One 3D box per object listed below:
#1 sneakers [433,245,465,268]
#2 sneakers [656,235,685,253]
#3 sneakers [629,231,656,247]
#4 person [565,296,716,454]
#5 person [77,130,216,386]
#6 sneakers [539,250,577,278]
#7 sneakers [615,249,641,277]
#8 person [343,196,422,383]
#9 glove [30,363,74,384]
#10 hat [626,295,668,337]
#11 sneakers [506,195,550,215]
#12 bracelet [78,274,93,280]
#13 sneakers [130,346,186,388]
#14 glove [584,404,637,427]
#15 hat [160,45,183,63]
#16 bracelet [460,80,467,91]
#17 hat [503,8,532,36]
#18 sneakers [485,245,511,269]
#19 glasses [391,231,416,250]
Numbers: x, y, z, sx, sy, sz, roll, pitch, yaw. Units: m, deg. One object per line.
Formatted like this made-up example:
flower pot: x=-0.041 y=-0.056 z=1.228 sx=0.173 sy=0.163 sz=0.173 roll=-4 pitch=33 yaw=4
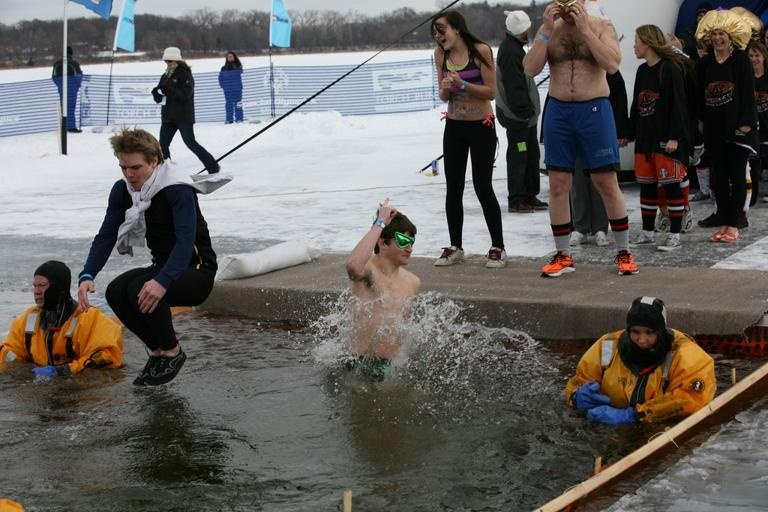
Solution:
sneakers: x=0.698 y=0.014 z=8.763 sx=0.143 sy=0.142 sz=0.396 roll=3 pitch=4 yaw=44
sneakers: x=3.055 y=-0.129 z=9.005 sx=0.138 sy=0.137 sz=0.379 roll=0 pitch=0 yaw=43
sneakers: x=2.834 y=-0.185 z=9.325 sx=0.324 sy=0.122 sz=0.138 roll=0 pitch=7 yaw=3
person: x=1.885 y=0.782 z=6.270 sx=1.145 sy=0.807 sz=0.992 roll=-1 pitch=9 yaw=42
person: x=-1.874 y=0.026 z=6.683 sx=0.951 sy=2.007 sz=0.513 roll=-1 pitch=8 yaw=9
sneakers: x=1.677 y=0.094 z=8.114 sx=0.444 sy=0.182 sz=0.163 roll=-4 pitch=7 yaw=-33
sneakers: x=2.308 y=0.063 z=7.992 sx=0.199 sy=0.214 sz=0.264 roll=0 pitch=7 yaw=14
person: x=-0.003 y=0.251 z=6.947 sx=0.621 sy=1.411 sz=0.513 roll=-3 pitch=8 yaw=-8
glove: x=-2.747 y=0.966 z=6.980 sx=0.214 sy=0.063 sz=0.167 roll=-2 pitch=11 yaw=-27
hat: x=1.925 y=0.437 z=6.207 sx=0.254 sy=0.235 sz=0.311 roll=1 pitch=-1 yaw=27
sneakers: x=1.956 y=-0.669 z=11.563 sx=0.642 sy=0.222 sz=0.210 roll=-2 pitch=9 yaw=-13
bracelet: x=-2.357 y=0.172 z=6.695 sx=0.075 sy=0.022 sz=0.068 roll=3 pitch=13 yaw=-3
sneakers: x=-1.775 y=0.893 z=6.700 sx=0.275 sy=0.130 sz=0.378 roll=3 pitch=36 yaw=49
glove: x=1.657 y=1.152 z=6.133 sx=0.255 sy=0.085 sz=0.146 roll=5 pitch=-20 yaw=-10
hat: x=-3.770 y=-3.555 z=15.127 sx=0.551 sy=0.346 sz=0.493 roll=-2 pitch=8 yaw=-8
bracelet: x=0.780 y=-1.657 z=8.267 sx=0.030 sy=0.075 sz=0.077 roll=3 pitch=50 yaw=-9
hat: x=1.671 y=-2.859 z=10.501 sx=0.409 sy=0.282 sz=0.264 roll=8 pitch=42 yaw=12
sneakers: x=1.167 y=0.025 z=8.614 sx=0.290 sy=0.245 sz=0.614 roll=-1 pitch=-1 yaw=15
glasses: x=0.168 y=-0.120 z=6.774 sx=0.147 sy=0.055 sz=0.140 roll=8 pitch=11 yaw=-29
